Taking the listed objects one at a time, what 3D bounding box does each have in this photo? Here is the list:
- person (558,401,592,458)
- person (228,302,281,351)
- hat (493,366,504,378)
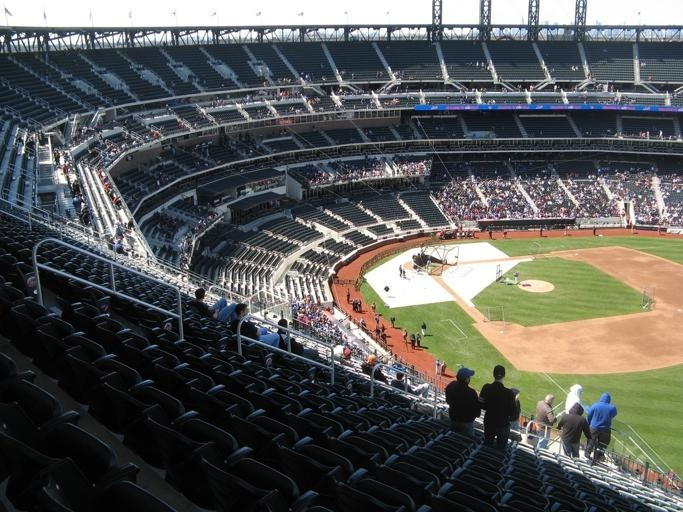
[{"bbox_3d":[5.699,4.474,14.388,0.943,1.447,0.592,5,4,11],"label":"person"},{"bbox_3d":[-2.548,2.028,16.735,1.226,1.434,0.734,-21,45,-21],"label":"person"},{"bbox_3d":[3.322,2.438,12.354,0.290,0.178,0.339,-1,13,3],"label":"hat"}]
